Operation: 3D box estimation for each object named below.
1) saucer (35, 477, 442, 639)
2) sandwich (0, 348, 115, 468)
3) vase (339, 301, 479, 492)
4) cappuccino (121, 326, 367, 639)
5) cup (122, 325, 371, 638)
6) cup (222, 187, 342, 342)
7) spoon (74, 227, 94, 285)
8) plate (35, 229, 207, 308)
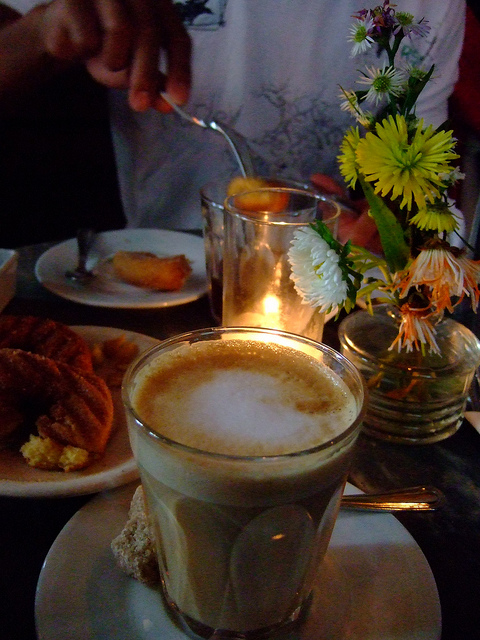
[{"bbox_3d":[-0.004,0.246,0.555,0.202,0.152,0.190,0,12,0],"label":"saucer"},{"bbox_3d":[-0.225,0.093,0.739,0.127,0.040,0.157,-21,46,-38],"label":"sandwich"},{"bbox_3d":[0.162,0.089,0.825,0.256,0.212,0.235,0,27,2],"label":"vase"},{"bbox_3d":[0.005,0.132,0.592,0.250,0.271,0.228,-10,19,-37],"label":"cappuccino"},{"bbox_3d":[-0.039,0.167,0.610,0.258,0.272,0.263,1,23,-1],"label":"cup"},{"bbox_3d":[0.048,-0.059,0.888,0.154,0.203,0.139,5,16,7],"label":"cup"},{"bbox_3d":[-0.321,-0.130,1.213,0.042,0.025,0.158,0,33,-13],"label":"spoon"},{"bbox_3d":[-0.235,-0.113,1.202,0.329,0.066,0.384,-4,32,-4],"label":"plate"}]
